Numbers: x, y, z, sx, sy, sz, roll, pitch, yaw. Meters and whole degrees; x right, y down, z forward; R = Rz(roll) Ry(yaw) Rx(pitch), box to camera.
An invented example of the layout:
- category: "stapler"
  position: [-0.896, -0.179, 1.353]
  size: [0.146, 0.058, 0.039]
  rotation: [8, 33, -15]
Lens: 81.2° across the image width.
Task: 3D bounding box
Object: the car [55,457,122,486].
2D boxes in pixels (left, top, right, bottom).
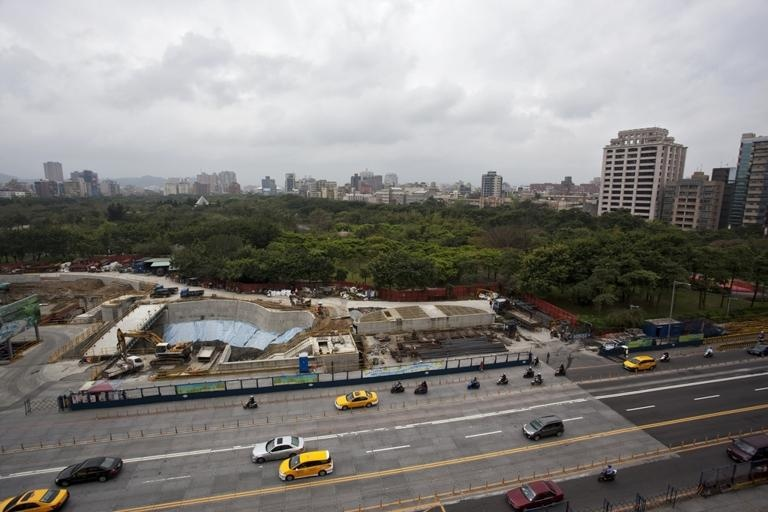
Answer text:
- category: "car"
  position: [-31.062, 23.071, 47.400]
  size: [6.412, 1.456, 2.503]
  rotation: [1, 20, -17]

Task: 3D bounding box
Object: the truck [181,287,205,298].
- category: "truck"
  position: [-40.425, 7.719, 93.819]
  size: [3.844, 1.442, 2.321]
  rotation: [1, 3, -33]

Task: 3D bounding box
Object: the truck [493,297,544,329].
- category: "truck"
  position: [24.013, 11.517, 80.582]
  size: [5.155, 1.904, 6.265]
  rotation: [-2, 19, -22]

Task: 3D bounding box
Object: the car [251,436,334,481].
- category: "car"
  position: [-9.866, 21.963, 50.036]
  size: [10.847, 3.061, 3.466]
  rotation: [1, 2, 0]

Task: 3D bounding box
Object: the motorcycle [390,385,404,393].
- category: "motorcycle"
  position: [1.630, 17.555, 58.735]
  size: [0.808, 0.777, 2.057]
  rotation: [0, -2, 29]

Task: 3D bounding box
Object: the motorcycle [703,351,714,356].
- category: "motorcycle"
  position: [47.962, 14.462, 66.179]
  size: [1.437, 0.648, 0.661]
  rotation: [-7, 5, -33]

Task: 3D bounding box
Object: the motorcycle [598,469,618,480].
- category: "motorcycle"
  position: [23.459, 23.077, 47.403]
  size: [2.134, 0.928, 0.932]
  rotation: [2, 2, -8]

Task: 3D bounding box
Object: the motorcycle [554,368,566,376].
- category: "motorcycle"
  position: [24.476, 16.058, 62.177]
  size: [1.640, 1.163, 0.949]
  rotation: [0, 9, -8]

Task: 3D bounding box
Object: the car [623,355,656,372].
- category: "car"
  position: [36.138, 15.223, 63.283]
  size: [4.338, 1.488, 2.157]
  rotation: [0, 3, -4]

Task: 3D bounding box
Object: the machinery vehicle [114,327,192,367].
- category: "machinery vehicle"
  position: [-38.263, 14.931, 74.336]
  size: [12.011, 5.216, 3.747]
  rotation: [-1, 7, -3]

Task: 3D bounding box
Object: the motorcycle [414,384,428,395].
- category: "motorcycle"
  position: [4.788, 17.556, 58.570]
  size: [1.350, 0.682, 1.782]
  rotation: [10, 18, 37]

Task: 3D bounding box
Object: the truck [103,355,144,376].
- category: "truck"
  position: [-38.729, 16.420, 66.304]
  size: [4.297, 1.790, 5.558]
  rotation: [0, 8, -5]

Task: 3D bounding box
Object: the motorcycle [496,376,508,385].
- category: "motorcycle"
  position: [16.005, 16.843, 60.283]
  size: [1.665, 0.831, 0.918]
  rotation: [4, 1, -24]

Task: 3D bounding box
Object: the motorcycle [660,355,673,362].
- category: "motorcycle"
  position: [41.188, 15.000, 65.470]
  size: [1.697, 0.901, 0.938]
  rotation: [0, -1, -40]

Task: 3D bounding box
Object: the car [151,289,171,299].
- category: "car"
  position: [-47.316, 7.996, 94.487]
  size: [3.576, 1.341, 1.741]
  rotation: [-5, 20, -15]

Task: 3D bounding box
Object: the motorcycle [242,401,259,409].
- category: "motorcycle"
  position: [-16.905, 18.739, 56.170]
  size: [1.736, 0.553, 1.118]
  rotation: [-1, -5, 0]

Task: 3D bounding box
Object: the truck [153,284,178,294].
- category: "truck"
  position: [-46.559, 7.394, 95.464]
  size: [4.088, 1.421, 2.297]
  rotation: [0, 5, -29]

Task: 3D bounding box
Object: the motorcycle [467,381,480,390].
- category: "motorcycle"
  position: [11.813, 17.300, 59.532]
  size: [1.838, 0.853, 0.853]
  rotation: [3, 5, -25]
